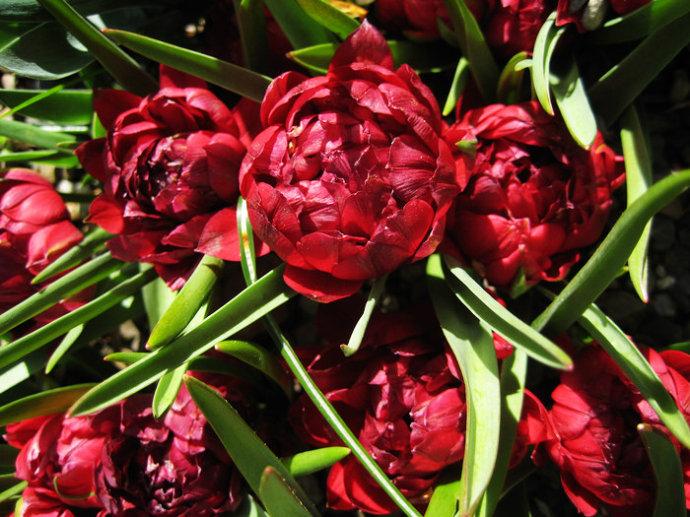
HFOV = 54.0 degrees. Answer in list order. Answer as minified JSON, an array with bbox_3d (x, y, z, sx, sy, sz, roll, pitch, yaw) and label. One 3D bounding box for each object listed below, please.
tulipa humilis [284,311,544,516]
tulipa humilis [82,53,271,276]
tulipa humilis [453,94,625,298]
[{"bbox_3d":[0.090,0.194,0.923,0.341,0.155,0.286,-18,78,-3],"label":"tulipa humilis"},{"bbox_3d":[-0.274,-0.172,1.007,0.284,0.204,0.345,13,36,22],"label":"tulipa humilis"},{"bbox_3d":[0.225,-0.090,0.898,0.216,0.150,0.227,-4,91,7],"label":"tulipa humilis"}]
